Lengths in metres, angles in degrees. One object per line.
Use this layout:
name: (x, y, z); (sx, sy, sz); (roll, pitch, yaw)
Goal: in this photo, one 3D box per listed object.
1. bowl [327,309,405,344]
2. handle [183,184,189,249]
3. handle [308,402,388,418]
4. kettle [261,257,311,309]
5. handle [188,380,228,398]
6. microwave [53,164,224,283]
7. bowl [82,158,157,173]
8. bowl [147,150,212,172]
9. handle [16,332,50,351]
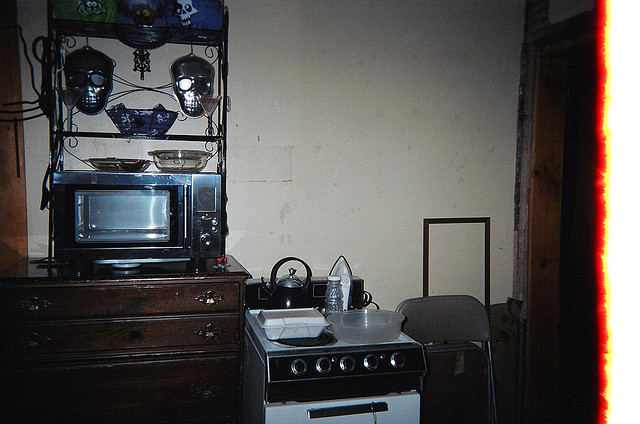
bowl: (0.221, 0.537, 2.580); (0.287, 0.149, 0.294); (1, 2, 0)
handle: (-0.698, 0.031, 2.702); (0.036, 0.355, 0.035); (7, 18, 9)
handle: (0.131, 0.897, 2.355); (0.363, 0.050, 0.019); (0, -1, -11)
kettle: (-0.190, 0.403, 2.847); (0.311, 0.297, 0.225); (1, 4, 11)
handle: (-0.577, 0.904, 2.653); (0.202, 0.075, 0.067); (2, -5, -18)
microwave: (-0.965, 0.055, 2.803); (0.867, 0.604, 0.554); (0, -1, -11)
bowl: (-1.061, -0.243, 2.721); (0.314, 0.091, 0.213); (0, -1, -16)
bowl: (-0.750, -0.268, 2.782); (0.321, 0.115, 0.140); (0, -1, -13)
handle: (-1.384, 0.623, 2.518); (0.067, 0.062, 0.128); (-6, -17, 34)
